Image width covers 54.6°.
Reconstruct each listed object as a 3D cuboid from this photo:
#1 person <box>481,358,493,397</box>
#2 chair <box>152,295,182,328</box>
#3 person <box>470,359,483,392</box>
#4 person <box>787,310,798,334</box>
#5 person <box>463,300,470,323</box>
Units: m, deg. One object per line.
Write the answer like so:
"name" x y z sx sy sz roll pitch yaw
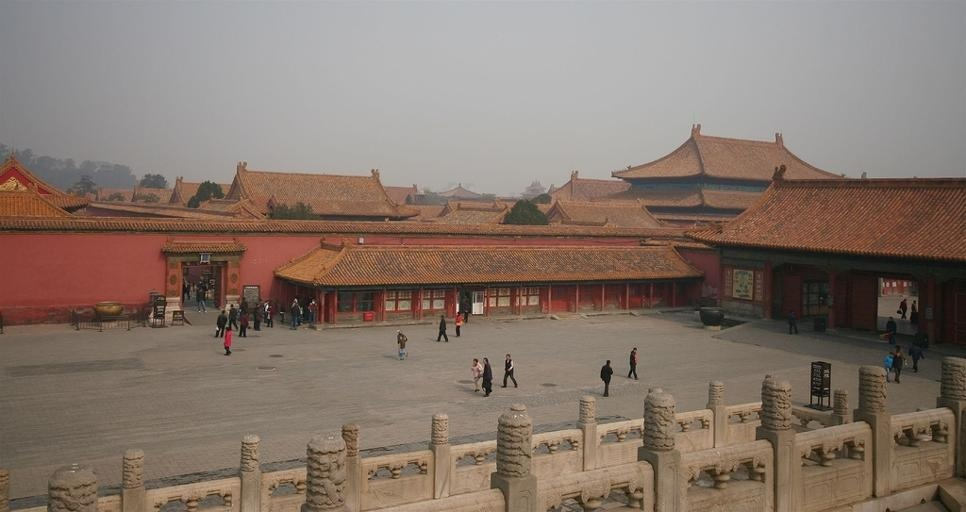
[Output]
"person" 0.207 5.995 45.483 0.511 1.798 1.220 -1 -2 0
"chair" -19.289 3.583 57.477 2.049 1.867 1.999 1 -2 -42
"person" -0.253 5.949 46.103 0.496 1.530 1.455 -1 -2 -2
"person" 18.855 4.145 56.794 0.545 1.258 1.795 -1 -2 18
"person" -1.037 3.659 61.018 0.507 1.349 0.811 -1 -2 -2
